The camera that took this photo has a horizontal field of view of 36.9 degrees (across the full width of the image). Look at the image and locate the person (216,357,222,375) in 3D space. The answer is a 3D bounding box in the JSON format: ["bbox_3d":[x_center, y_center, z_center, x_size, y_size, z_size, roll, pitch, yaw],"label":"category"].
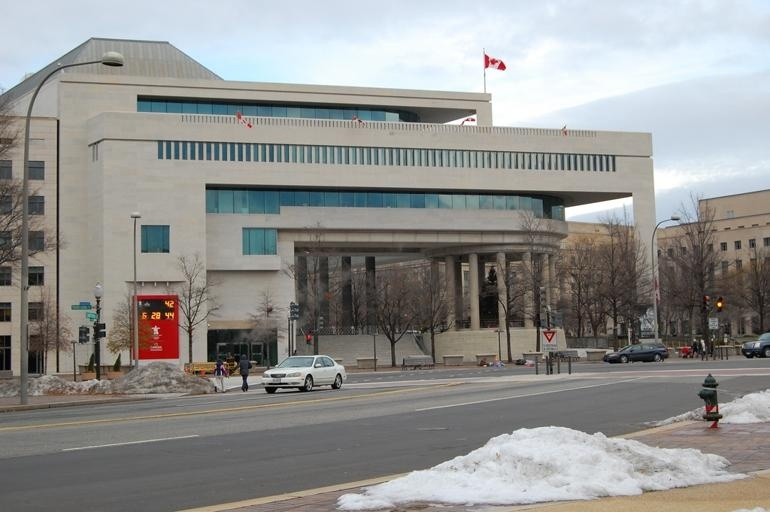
[{"bbox_3d":[-11.191,7.658,77.596,0.350,0.886,0.895,-3,-8,-3],"label":"person"}]

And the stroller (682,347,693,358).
[{"bbox_3d":[26.701,8.651,102.222,1.248,1.265,0.724,0,-8,2],"label":"stroller"}]

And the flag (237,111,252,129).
[{"bbox_3d":[-13.561,-12.998,110.668,1.284,0.803,4.727,21,3,-4],"label":"flag"}]

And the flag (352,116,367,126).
[{"bbox_3d":[-2.631,-13.358,114.191,1.559,0.937,2.574,1,-5,-1],"label":"flag"}]

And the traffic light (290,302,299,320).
[{"bbox_3d":[-7.269,4.416,91.769,0.627,1.290,1.124,-2,-8,-12],"label":"traffic light"}]

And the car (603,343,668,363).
[{"bbox_3d":[20.973,8.137,95.874,4.737,1.697,2.183,-6,-8,11],"label":"car"}]

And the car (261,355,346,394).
[{"bbox_3d":[-5.066,7.356,71.639,4.948,2.290,2.044,1,-9,-30],"label":"car"}]
